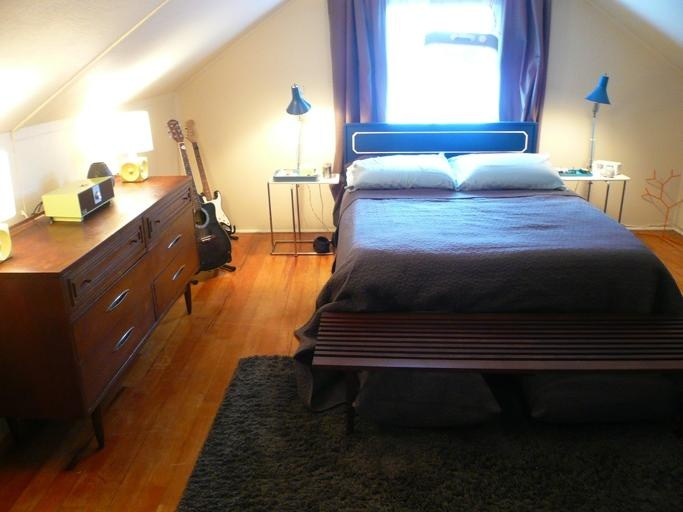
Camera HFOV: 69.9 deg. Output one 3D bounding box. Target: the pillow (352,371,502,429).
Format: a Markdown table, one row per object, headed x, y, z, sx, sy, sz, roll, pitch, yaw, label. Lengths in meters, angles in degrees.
| x | y | z | sx | sy | sz | roll | pitch | yaw | label |
| --- | --- | --- | --- | --- | --- | --- | --- | --- | --- |
| 0.366 | 0.661 | 2.329 | 0.406 | 0.100 | 0.382 | 0 | 13 | 2 | pillow |

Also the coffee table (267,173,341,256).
| x | y | z | sx | sy | sz | roll | pitch | yaw | label |
| --- | --- | --- | --- | --- | --- | --- | --- | --- | --- |
| -0.325 | -0.353 | 4.526 | 0.650 | 0.890 | 0.873 | 0 | 25 | 2 | coffee table |
